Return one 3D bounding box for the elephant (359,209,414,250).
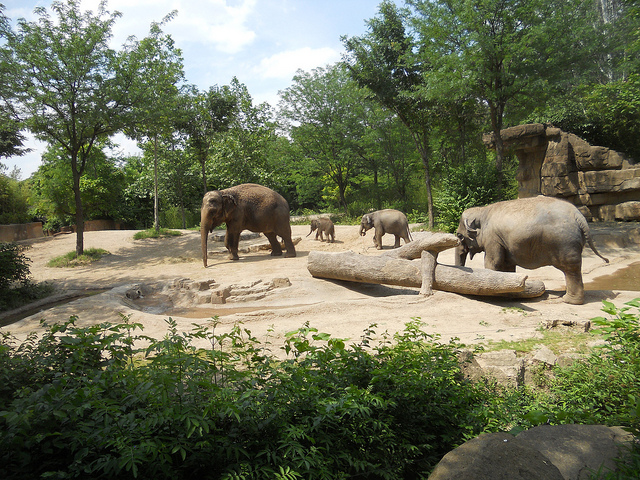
[{"bbox_3d":[2.488,-0.417,17.571,2.237,1.374,0.742,2,12,35],"label":"elephant"}]

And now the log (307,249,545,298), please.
[{"bbox_3d":[2.285,0.749,10.647,4.543,0.646,0.717,4,-28,26],"label":"log"}]

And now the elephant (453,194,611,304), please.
[{"bbox_3d":[4.323,0.189,10.467,1.389,2.005,3.522,-12,8,-33],"label":"elephant"}]

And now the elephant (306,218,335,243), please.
[{"bbox_3d":[0.141,-0.449,20.790,0.689,1.092,1.706,-2,12,-17],"label":"elephant"}]
